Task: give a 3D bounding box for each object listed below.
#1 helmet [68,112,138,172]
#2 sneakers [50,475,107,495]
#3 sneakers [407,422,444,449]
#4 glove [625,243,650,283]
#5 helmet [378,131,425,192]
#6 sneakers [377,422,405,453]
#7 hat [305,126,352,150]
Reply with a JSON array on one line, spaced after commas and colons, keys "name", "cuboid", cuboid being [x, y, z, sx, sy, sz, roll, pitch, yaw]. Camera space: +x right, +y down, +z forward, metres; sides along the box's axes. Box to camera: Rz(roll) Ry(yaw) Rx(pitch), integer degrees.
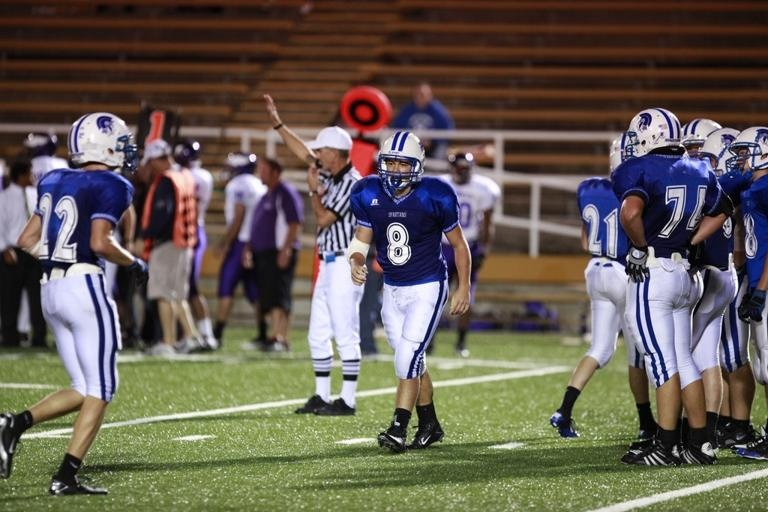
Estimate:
[{"name": "helmet", "cuboid": [-2.127, -0.871, 9.493, 0.494, 0.397, 0.358, -9, 15, -26]}, {"name": "sneakers", "cuboid": [-2.249, 1.667, 9.223, 0.410, 0.153, 0.163, 0, -2, -13]}, {"name": "sneakers", "cuboid": [0.351, 1.447, 10.227, 0.125, 0.175, 0.381, -2, 0, 43]}, {"name": "glove", "cuboid": [1.972, 0.057, 9.816, 0.100, 0.237, 0.220, 4, 3, -40]}, {"name": "helmet", "cuboid": [0.139, -0.748, 10.020, 0.339, 0.479, 0.474, 4, 13, 17]}, {"name": "sneakers", "cuboid": [0.065, 1.425, 10.059, 0.232, 0.242, 0.251, 0, -2, -1]}, {"name": "hat", "cuboid": [-0.483, -1.059, 11.292, 0.300, 0.177, 0.216, -1, 9, -3]}]
